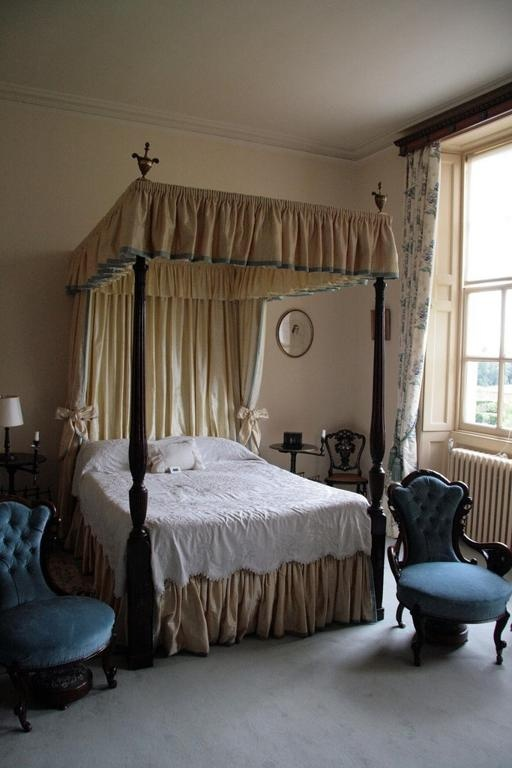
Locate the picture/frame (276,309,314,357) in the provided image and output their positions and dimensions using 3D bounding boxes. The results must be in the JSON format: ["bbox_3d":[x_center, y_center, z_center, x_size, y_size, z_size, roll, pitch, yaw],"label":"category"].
[{"bbox_3d":[0.377,-0.526,6.641,0.372,0.433,0.032,-17,13,-39],"label":"picture/frame"}]

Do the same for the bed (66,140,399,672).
[{"bbox_3d":[-0.015,-0.307,4.829,2.573,3.310,2.713,-1,4,-25],"label":"bed"}]

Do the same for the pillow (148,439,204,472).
[{"bbox_3d":[-0.647,0.573,5.131,0.272,0.092,0.256,-3,19,-27],"label":"pillow"}]
